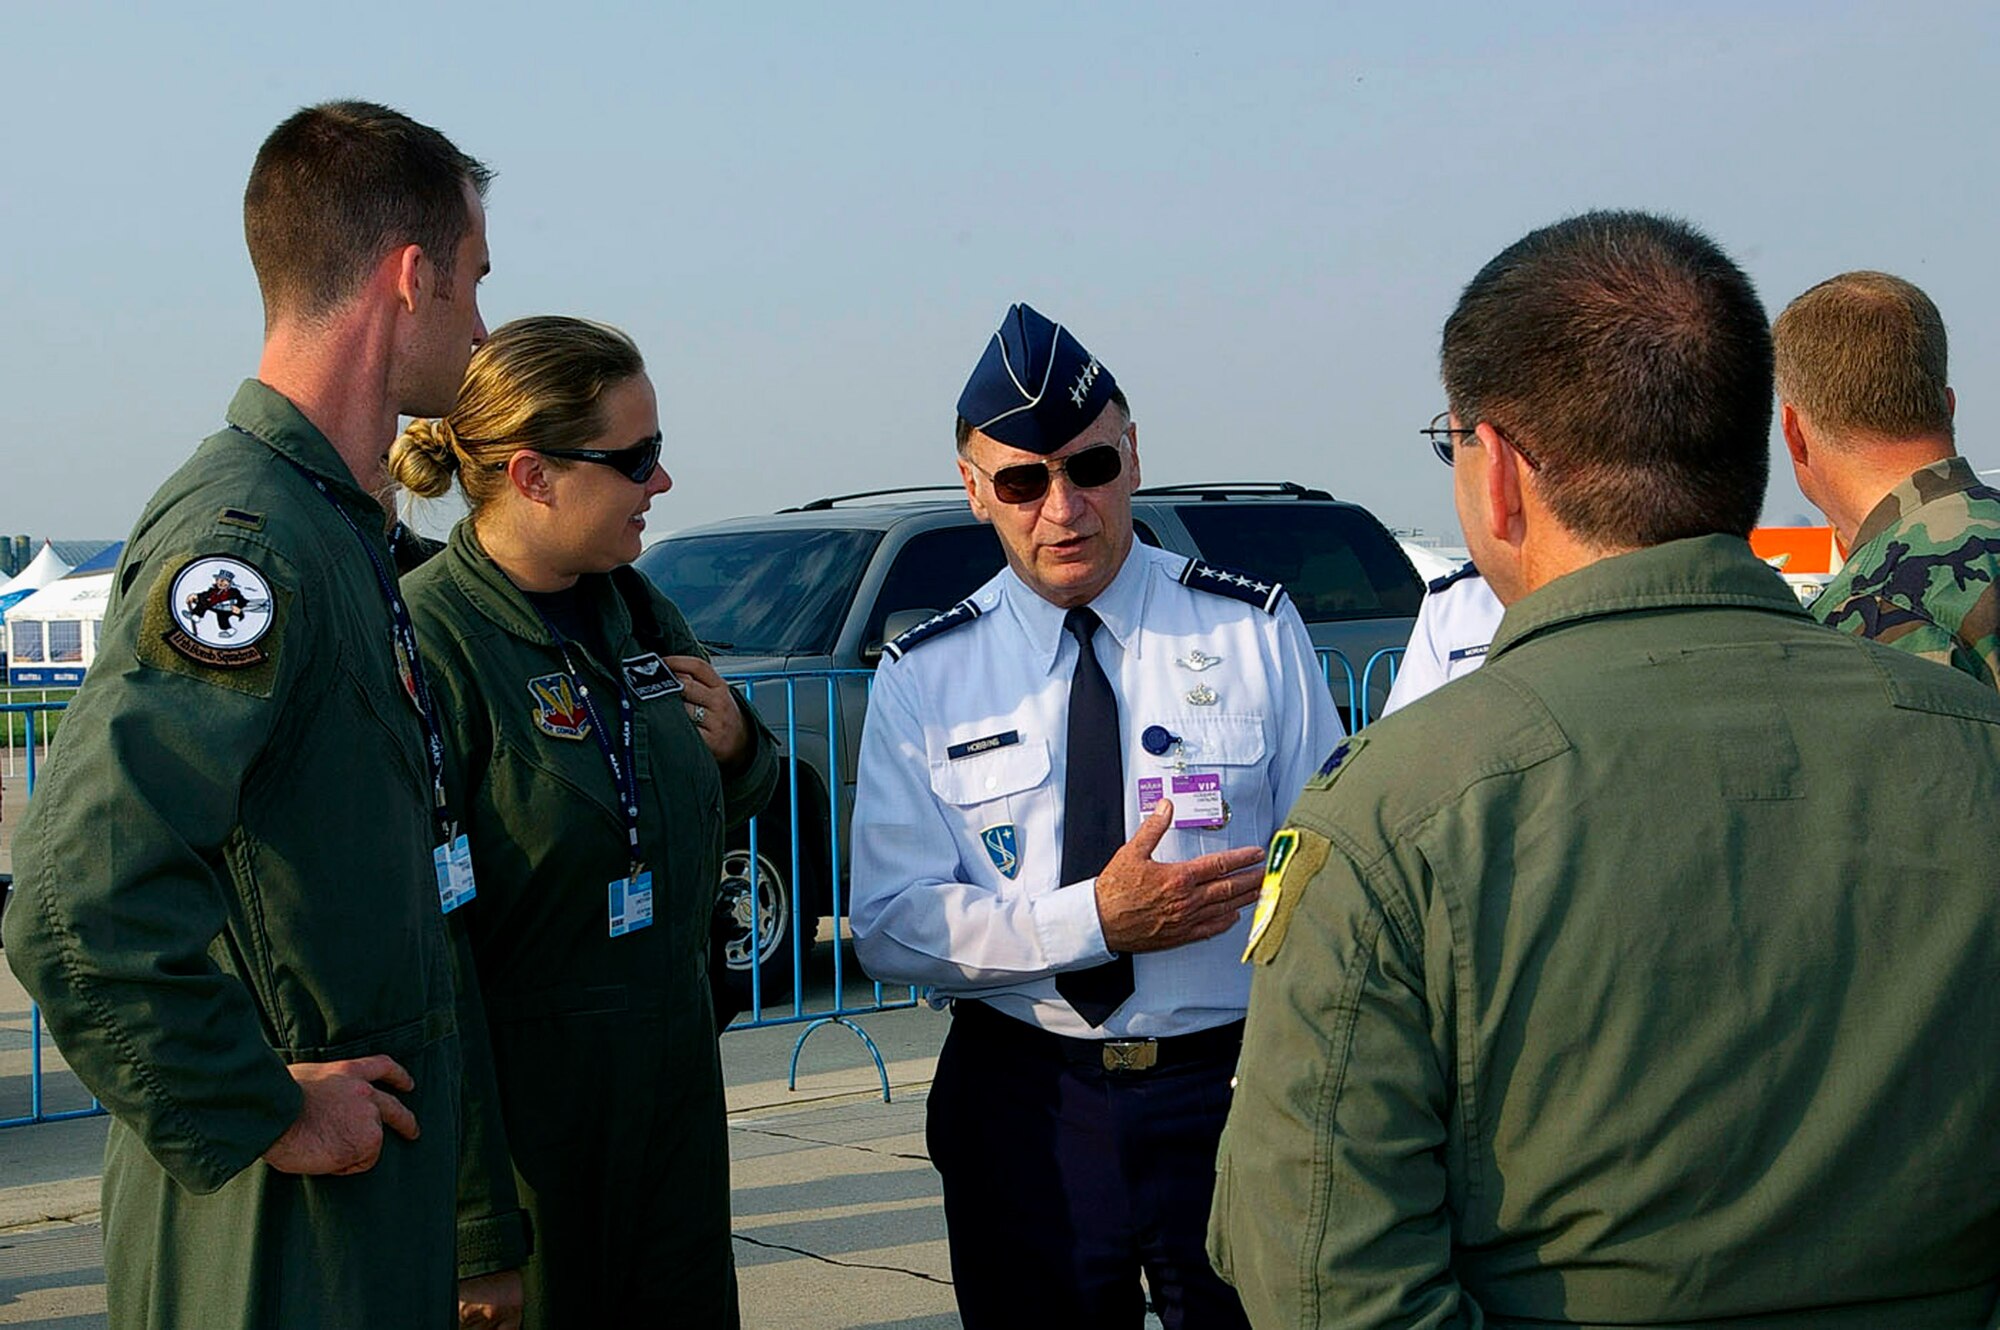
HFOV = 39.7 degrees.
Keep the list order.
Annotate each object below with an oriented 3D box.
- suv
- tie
[{"bbox_3d":[0.321,0.139,10.437,3.141,1.321,1.536,0,-1,-31],"label":"suv"},{"bbox_3d":[0.174,0.281,5.375,0.156,0.798,0.258,-4,-4,2],"label":"tie"}]
